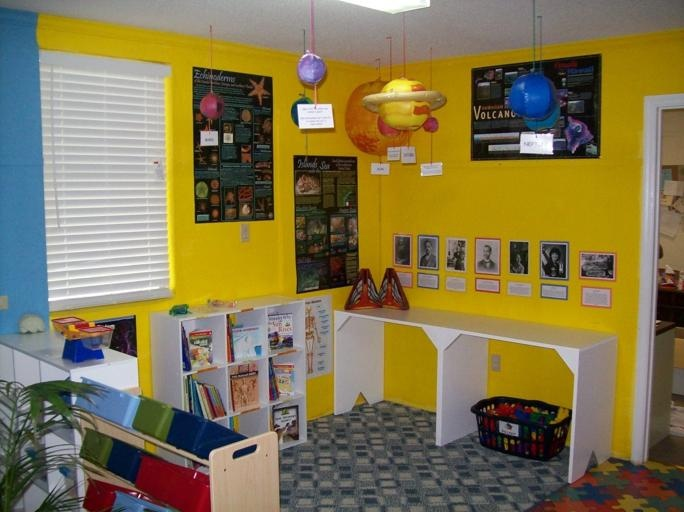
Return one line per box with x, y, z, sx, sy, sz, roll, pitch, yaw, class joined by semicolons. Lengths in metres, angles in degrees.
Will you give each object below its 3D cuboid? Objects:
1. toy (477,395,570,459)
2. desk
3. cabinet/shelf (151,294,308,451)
1.548;1.496;4.811;0.798;0.387;0.462;3;10;25;toy
1.056;1.113;5.049;2.412;1.055;0.792;3;3;42;desk
-0.907;0.885;4.291;0.433;1.285;1.323;1;4;43;cabinet/shelf
